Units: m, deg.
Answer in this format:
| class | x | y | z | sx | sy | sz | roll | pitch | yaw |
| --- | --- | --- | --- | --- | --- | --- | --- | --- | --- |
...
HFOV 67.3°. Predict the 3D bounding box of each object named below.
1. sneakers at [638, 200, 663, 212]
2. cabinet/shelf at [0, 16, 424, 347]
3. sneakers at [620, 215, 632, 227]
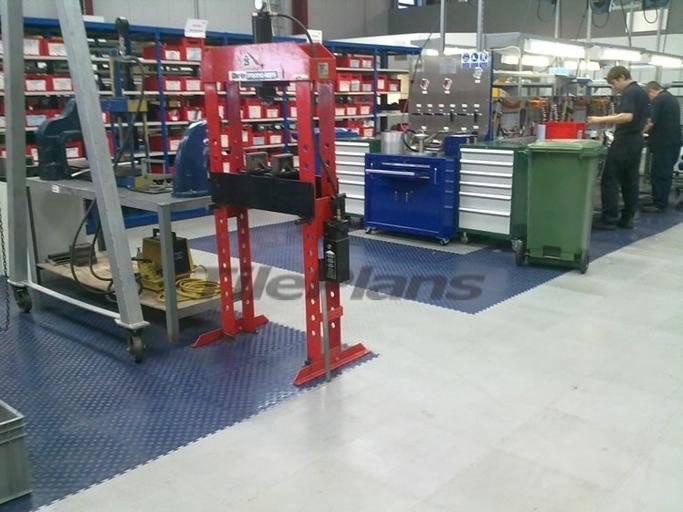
| class | x | y | z | sx | sy | sz | roll | pitch | yaw |
| --- | --- | --- | --- | --- | --- | --- | --- | --- | --- |
| sneakers | 4.293 | -0.698 | 7.117 | 0.116 | 0.201 | 0.274 | -18 | 28 | -24 |
| cabinet/shelf | -1.210 | -0.605 | 4.401 | 3.280 | 2.963 | 1.255 | 10 | 18 | 31 |
| sneakers | 3.471 | -0.438 | 6.255 | 0.137 | 0.257 | 0.147 | 2 | 5 | 33 |
